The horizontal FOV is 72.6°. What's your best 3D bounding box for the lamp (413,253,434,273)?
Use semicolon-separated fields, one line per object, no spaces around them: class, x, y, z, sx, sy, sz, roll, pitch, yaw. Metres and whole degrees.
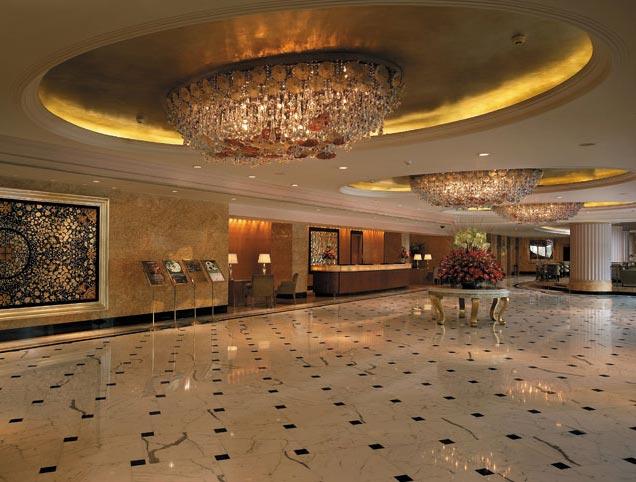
lamp;6.145;1.322;25.205;1.052;0.813;0.596;2;7;32

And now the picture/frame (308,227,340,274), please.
picture/frame;0.218;0.409;19.942;0.127;1.527;2.346;0;0;34

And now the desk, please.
desk;3.917;1.490;11.189;1.747;0.709;1.702;-2;-2;25

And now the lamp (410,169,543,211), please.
lamp;3.732;-1.311;10.353;1.519;0.415;1.485;2;-5;-35

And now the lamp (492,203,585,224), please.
lamp;7.325;-0.963;14.328;1.591;0.411;1.544;-1;-2;33

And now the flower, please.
flower;4.021;0.591;11.441;1.339;0.818;1.294;0;0;21

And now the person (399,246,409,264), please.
person;4.624;0.717;23.088;0.390;0.843;1.043;1;1;14

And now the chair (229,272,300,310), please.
chair;-1.754;1.722;14.480;2.234;0.980;1.271;-2;5;-26
